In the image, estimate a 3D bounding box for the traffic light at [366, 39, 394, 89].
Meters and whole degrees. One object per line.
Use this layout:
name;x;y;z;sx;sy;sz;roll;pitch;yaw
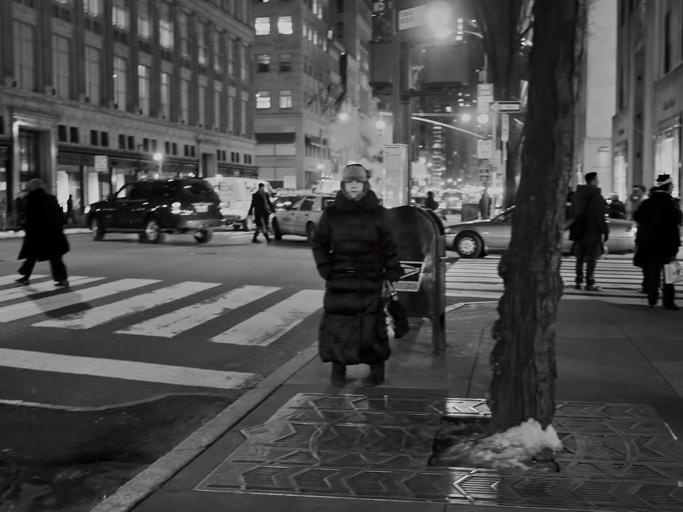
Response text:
traffic light;0.999;-5.739;21.687;0.952;1.059;0.931;4;18;32

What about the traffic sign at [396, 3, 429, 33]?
traffic sign;1.843;-6.299;19.384;0.145;0.527;1.049;4;-3;-45

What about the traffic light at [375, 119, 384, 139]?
traffic light;1.416;-4.560;26.234;0.337;0.641;0.730;-1;6;3

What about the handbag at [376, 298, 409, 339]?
handbag;0.605;0.658;7.932;0.129;0.439;0.328;-15;10;16

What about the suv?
suv;-7.018;-1.691;26.845;5.267;2.226;1.871;2;6;29

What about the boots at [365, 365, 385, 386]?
boots;0.371;1.203;7.595;0.207;0.194;0.222;0;3;16

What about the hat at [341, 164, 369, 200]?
hat;0.114;-0.763;7.599;0.363;0.376;0.431;-2;1;-19

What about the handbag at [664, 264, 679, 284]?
handbag;5.062;0.255;11.273;0.212;0.348;0.333;2;6;23

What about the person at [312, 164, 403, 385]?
person;0.163;0.181;7.488;0.883;2.229;0.367;-1;6;-1

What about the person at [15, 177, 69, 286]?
person;-5.643;-0.429;13.947;0.830;2.038;0.529;-3;6;-19

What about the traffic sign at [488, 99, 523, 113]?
traffic sign;5.716;-5.193;25.550;1.019;0.411;0.884;0;6;12
